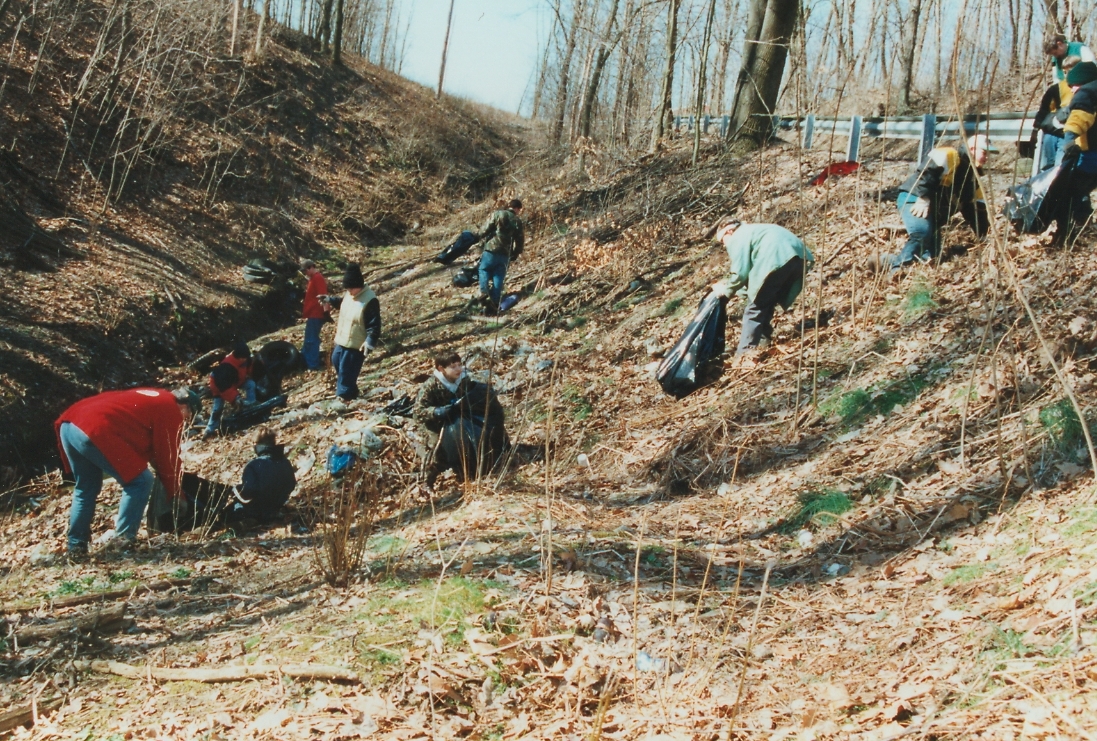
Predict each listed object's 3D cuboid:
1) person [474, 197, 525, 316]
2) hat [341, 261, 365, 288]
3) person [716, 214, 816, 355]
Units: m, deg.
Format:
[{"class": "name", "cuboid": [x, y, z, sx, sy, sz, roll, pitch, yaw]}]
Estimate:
[{"class": "person", "cuboid": [-0.895, -2.109, 26.456, 0.828, 2.131, 0.942, -1, 3, -4]}, {"class": "hat", "cuboid": [-3.219, -1.551, 23.665, 0.296, 0.371, 0.514, -1, 4, -1]}, {"class": "person", "cuboid": [3.280, -1.251, 21.867, 1.306, 1.984, 0.618, 0, 3, 12]}]
